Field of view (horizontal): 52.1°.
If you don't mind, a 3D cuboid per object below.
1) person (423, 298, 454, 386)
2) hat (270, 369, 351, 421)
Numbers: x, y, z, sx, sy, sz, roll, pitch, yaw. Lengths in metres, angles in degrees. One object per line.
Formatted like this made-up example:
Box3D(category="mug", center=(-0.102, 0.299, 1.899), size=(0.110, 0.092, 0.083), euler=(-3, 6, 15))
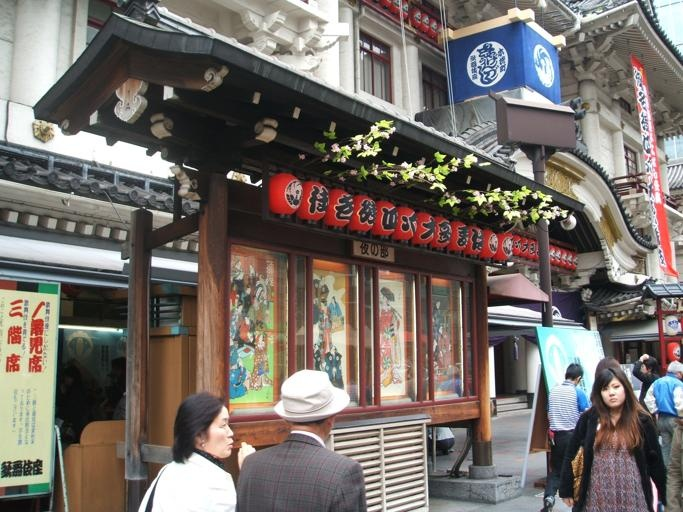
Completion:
Box3D(category="person", center=(1.630, 1.441, 11.200), size=(0.151, 1.440, 0.576), euler=(-8, -13, 32))
Box3D(category="hat", center=(-0.204, 1.118, 5.677), size=(0.468, 0.177, 0.428), euler=(-23, 38, -38))
